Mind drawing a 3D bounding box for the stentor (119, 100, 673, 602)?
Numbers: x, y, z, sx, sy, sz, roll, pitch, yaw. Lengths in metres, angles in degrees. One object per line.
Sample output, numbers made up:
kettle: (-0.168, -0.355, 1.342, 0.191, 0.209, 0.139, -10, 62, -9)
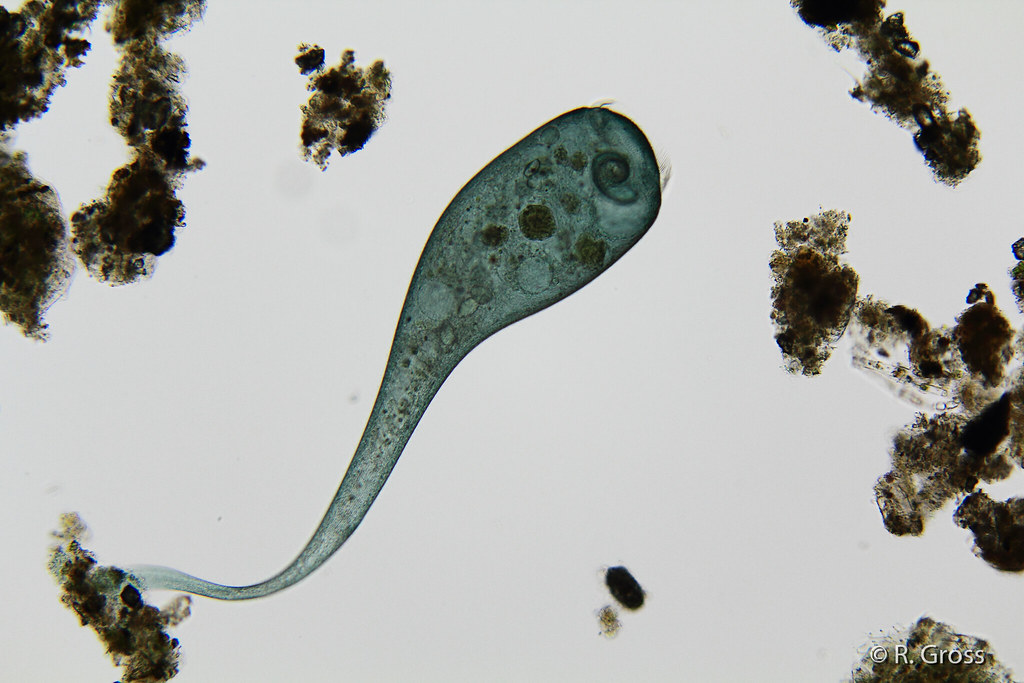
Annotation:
stentor: (-1.707, 0.497, 21.398, 2.746, 9.709, 0.844, 39, -10, 21)
